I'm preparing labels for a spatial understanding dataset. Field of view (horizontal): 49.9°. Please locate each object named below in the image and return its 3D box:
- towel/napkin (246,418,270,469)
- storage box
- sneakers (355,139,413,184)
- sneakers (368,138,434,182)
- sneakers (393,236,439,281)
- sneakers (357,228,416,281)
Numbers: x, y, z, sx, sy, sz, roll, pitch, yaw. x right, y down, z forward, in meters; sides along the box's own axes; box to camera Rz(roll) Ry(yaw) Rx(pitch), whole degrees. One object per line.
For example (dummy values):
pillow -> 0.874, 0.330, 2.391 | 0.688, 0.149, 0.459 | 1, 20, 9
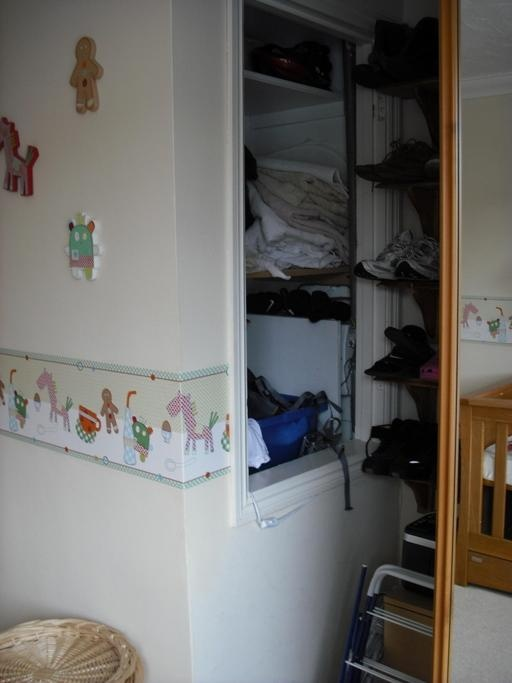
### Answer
towel/napkin -> -0.002, 0.300, 1.615 | 0.086, 0.135, 0.035 | -18, 5, -32
storage box -> 0.087, 0.380, 2.006 | 0.367, 0.190, 0.287 | -9, -11, -36
sneakers -> 0.394, -0.594, 1.769 | 0.085, 0.138, 0.276 | 6, 20, -22
sneakers -> 0.448, -0.544, 1.665 | 0.118, 0.105, 0.210 | 7, 18, 44
sneakers -> 0.489, -0.264, 1.693 | 0.132, 0.158, 0.175 | 0, 3, 15
sneakers -> 0.439, -0.274, 1.746 | 0.225, 0.172, 0.095 | 2, -8, 15
